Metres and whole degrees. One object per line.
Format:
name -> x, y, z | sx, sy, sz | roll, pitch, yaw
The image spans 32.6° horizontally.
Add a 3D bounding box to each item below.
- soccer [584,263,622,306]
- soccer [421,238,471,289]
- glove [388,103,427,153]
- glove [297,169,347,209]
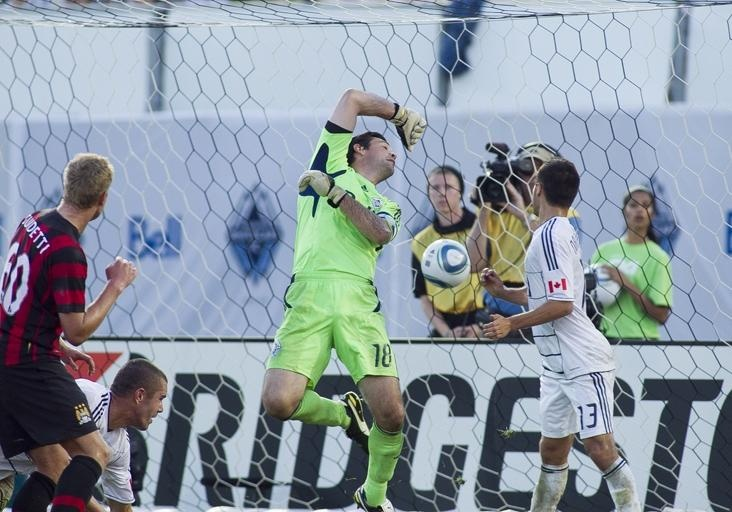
soccer -> 1.738, 0.228, 9.268 | 0.261, 0.310, 0.291 | -2, 5, -2
soccer -> 0.556, 0.089, 8.796 | 0.292, 0.368, 0.311 | 1, -6, -12
glove -> 0.268, -0.860, 8.661 | 0.300, 0.256, 0.125 | 49, -20, -5
glove -> -0.299, -0.453, 8.307 | 0.301, 0.138, 0.203 | 34, 2, -8
